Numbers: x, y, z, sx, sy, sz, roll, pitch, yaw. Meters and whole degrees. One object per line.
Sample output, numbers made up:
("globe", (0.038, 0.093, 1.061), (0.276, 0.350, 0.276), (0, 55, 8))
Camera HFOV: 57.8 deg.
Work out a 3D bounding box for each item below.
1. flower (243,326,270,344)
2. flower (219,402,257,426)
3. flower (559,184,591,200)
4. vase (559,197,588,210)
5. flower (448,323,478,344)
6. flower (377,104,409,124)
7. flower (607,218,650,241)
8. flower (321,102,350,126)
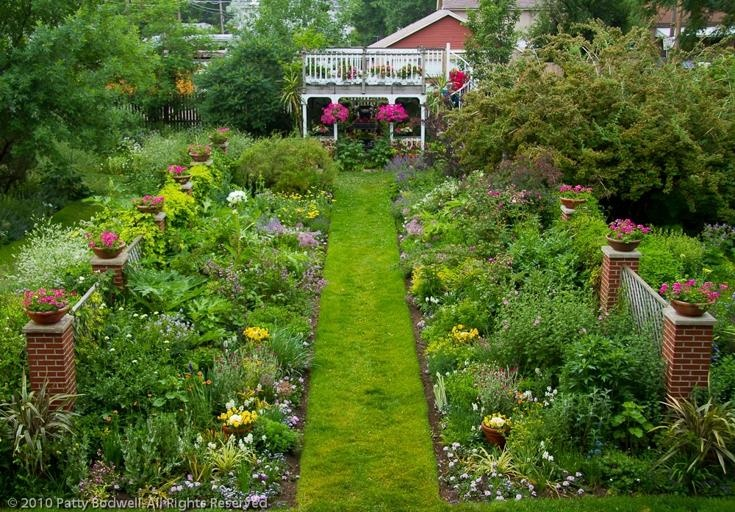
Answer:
("flower", (-1.915, 1.346, 11.507), (0.282, 0.179, 0.303), (1, 6, 2))
("flower", (-1.916, 2.367, 9.853), (0.381, 0.245, 0.364), (1, 28, -11))
("flower", (4.387, -1.349, 14.089), (0.648, 0.231, 0.632), (-11, 19, -24))
("vase", (4.272, -1.103, 13.928), (0.522, 0.220, 0.248), (11, 21, 37))
("flower", (1.690, 1.404, 11.885), (0.305, 0.219, 0.372), (-1, 9, 4))
("flower", (0.882, -5.467, 25.708), (0.814, 0.664, 0.936), (2, 25, 2))
("flower", (4.836, -0.488, 12.358), (0.393, 0.236, 0.518), (3, 17, 9))
("flower", (-1.295, -5.389, 25.499), (0.830, 0.882, 1.036), (-2, 37, 2))
